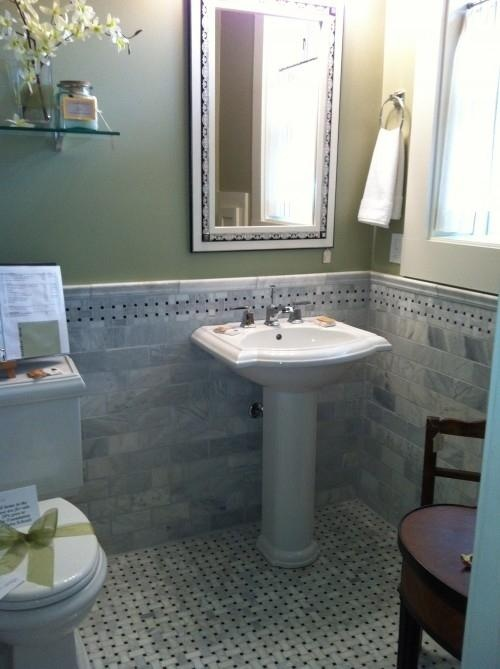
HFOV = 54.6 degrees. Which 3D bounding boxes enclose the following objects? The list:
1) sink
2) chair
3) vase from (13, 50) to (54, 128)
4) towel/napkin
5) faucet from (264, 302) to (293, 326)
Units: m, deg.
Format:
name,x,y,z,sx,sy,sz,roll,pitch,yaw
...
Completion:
name,x,y,z,sx,sy,sz,roll,pitch,yaw
sink,0.156,0.095,1.938,0.649,0.247,0.569,-6,14,-26
chair,0.647,0.412,1.558,0.167,0.300,0.139,6,13,23
vase,-0.683,-0.779,1.535,0.115,0.191,0.116,19,29,11
towel/napkin,0.576,-0.686,2.117,0.182,0.414,0.141,2,13,11
faucet,0.114,-0.086,2.115,0.061,0.106,0.167,-5,13,-29
